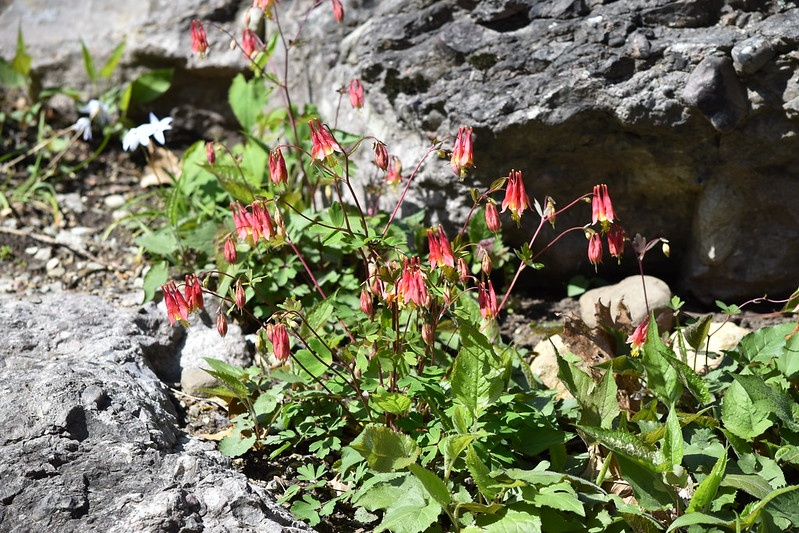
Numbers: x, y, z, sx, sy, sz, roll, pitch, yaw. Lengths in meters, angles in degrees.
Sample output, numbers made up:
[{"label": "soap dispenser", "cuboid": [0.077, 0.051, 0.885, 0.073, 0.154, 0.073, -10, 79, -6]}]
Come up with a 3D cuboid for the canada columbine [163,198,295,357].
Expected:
[{"label": "canada columbine", "cuboid": [-1.092, -0.009, 6.771, 0.675, 0.451, 1.174, 11, 72, 17]}]

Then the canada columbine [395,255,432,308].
[{"label": "canada columbine", "cuboid": [0.062, 0.110, 6.403, 0.204, 0.350, 0.229, -5, 4, -24]}]

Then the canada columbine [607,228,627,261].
[{"label": "canada columbine", "cuboid": [1.428, -0.149, 6.593, 0.105, 0.235, 0.129, -12, 26, 3]}]

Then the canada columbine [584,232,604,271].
[{"label": "canada columbine", "cuboid": [1.274, -0.126, 6.586, 0.067, 0.214, 0.173, -4, 28, 20]}]

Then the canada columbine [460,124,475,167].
[{"label": "canada columbine", "cuboid": [0.434, -0.799, 6.596, 0.078, 0.243, 0.232, -7, 28, 13]}]

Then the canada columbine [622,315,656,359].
[{"label": "canada columbine", "cuboid": [1.574, 0.468, 6.690, 0.228, 0.350, 0.127, 13, 36, 43]}]
